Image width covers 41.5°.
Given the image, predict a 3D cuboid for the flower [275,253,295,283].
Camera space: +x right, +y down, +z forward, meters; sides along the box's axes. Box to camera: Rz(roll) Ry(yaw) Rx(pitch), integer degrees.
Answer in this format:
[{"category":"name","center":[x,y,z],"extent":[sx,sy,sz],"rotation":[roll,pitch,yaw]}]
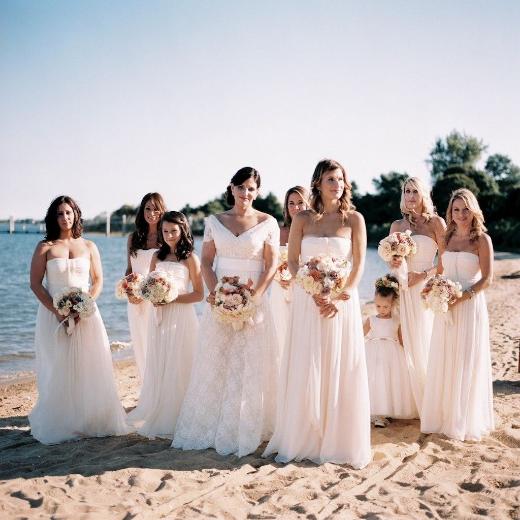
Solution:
[{"category":"flower","center":[0.305,0.099,8.703],"extent":[0.255,0.346,0.138],"rotation":[-1,-5,5]}]

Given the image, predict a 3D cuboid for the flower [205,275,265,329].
[{"category":"flower","center":[-0.253,0.449,7.158],"extent":[0.534,0.533,0.309],"rotation":[-42,-1,-4]}]

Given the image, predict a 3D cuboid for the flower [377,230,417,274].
[{"category":"flower","center":[1.627,-0.104,8.079],"extent":[0.431,0.462,0.412],"rotation":[0,6,11]}]

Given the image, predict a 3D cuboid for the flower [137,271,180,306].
[{"category":"flower","center":[-1.145,0.324,7.646],"extent":[0.386,0.338,0.347],"rotation":[6,7,14]}]

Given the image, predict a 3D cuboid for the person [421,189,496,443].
[{"category":"person","center":[2.219,0.565,7.639],"extent":[0.760,2.685,0.920],"rotation":[2,7,32]}]

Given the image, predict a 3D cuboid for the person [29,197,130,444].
[{"category":"person","center":[-2.136,0.648,7.735],"extent":[1.006,2.716,0.670],"rotation":[-4,6,-21]}]
